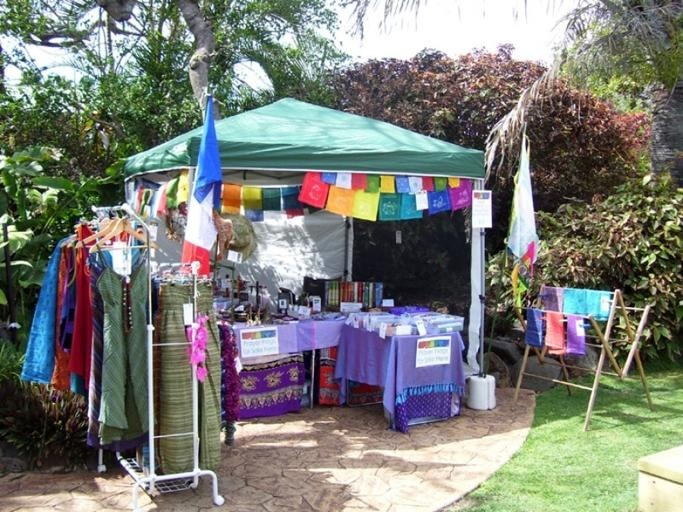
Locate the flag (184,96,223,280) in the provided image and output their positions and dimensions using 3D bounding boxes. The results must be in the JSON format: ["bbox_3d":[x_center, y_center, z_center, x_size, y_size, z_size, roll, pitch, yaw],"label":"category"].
[{"bbox_3d":[-1.433,-0.593,5.671,0.339,2.100,0.380,-2,10,-31],"label":"flag"}]

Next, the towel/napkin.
[{"bbox_3d":[2.757,0.791,6.627,0.415,0.777,1.073,-4,6,-33],"label":"towel/napkin"}]
